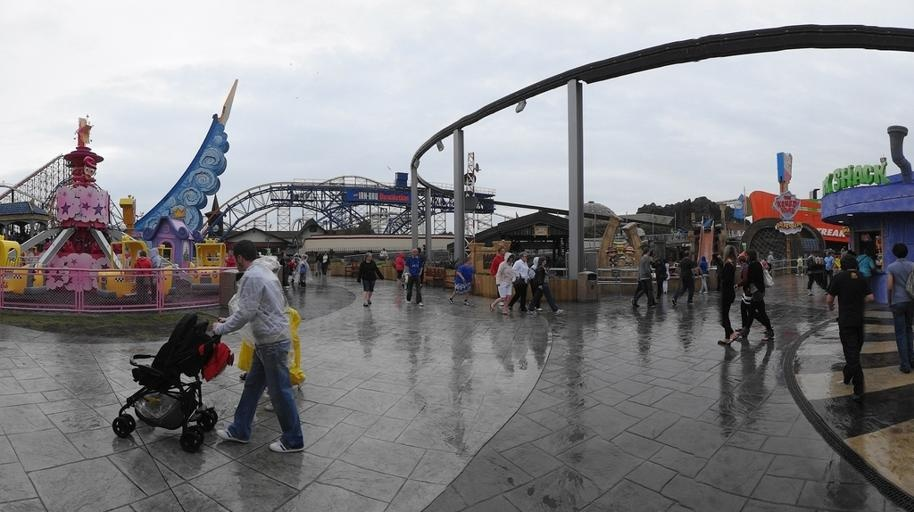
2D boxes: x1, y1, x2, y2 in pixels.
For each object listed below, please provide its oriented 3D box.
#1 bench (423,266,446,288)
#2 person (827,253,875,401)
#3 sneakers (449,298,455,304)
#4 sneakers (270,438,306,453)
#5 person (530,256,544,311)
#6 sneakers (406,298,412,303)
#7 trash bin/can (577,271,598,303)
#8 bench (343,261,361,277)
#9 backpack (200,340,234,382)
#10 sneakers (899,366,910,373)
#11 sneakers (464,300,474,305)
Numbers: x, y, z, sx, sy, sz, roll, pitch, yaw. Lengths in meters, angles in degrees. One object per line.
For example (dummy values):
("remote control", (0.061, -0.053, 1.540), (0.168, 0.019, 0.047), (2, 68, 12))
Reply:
("bench", (-1.195, 1.052, 28.990), (0.723, 1.057, 2.612), (0, 0, -14))
("person", (7.564, 1.238, 10.492), (0.684, 2.630, 1.285), (1, 1, 36))
("sneakers", (-0.222, 1.677, 20.795), (0.229, 0.208, 0.153), (4, 8, 39))
("sneakers", (-2.717, 3.021, 8.796), (0.582, 0.216, 0.203), (8, -3, -6))
("person", (2.616, 0.882, 17.616), (0.477, 1.719, 0.619), (1, 1, 9))
("sneakers", (-1.866, 1.707, 20.791), (0.179, 0.127, 0.182), (0, -5, -1))
("trash bin/can", (4.954, 1.117, 20.679), (0.793, 1.088, 0.578), (0, 1, -2))
("bench", (-7.424, 0.923, 38.271), (1.267, 1.528, 1.157), (0, -4, 2))
("backpack", (-3.841, 1.735, 9.018), (0.623, 0.272, 0.602), (-33, 17, 24))
("sneakers", (9.056, 2.260, 10.931), (0.272, 0.122, 0.105), (0, 1, -24))
("sneakers", (0.420, 1.708, 19.966), (0.351, 0.219, 0.120), (0, 9, 10))
